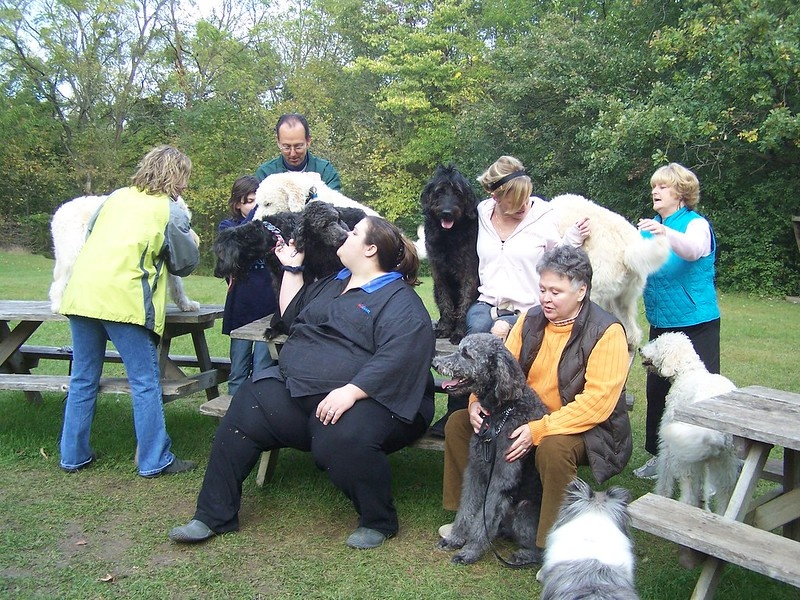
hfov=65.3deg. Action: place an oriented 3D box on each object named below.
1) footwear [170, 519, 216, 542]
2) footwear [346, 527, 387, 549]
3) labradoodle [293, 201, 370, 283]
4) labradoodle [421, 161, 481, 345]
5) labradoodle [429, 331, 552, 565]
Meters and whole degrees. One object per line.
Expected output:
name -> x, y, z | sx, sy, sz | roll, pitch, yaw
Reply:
footwear -> -1.512, 1.645, 4.494 | 0.153, 0.108, 0.251 | -7, -10, 41
footwear -> -0.248, 1.714, 4.529 | 0.215, 0.076, 0.138 | 10, -13, -20
labradoodle -> -0.542, -0.523, 5.235 | 0.510, 0.690, 0.490 | -11, 16, -42
labradoodle -> 0.445, -0.416, 5.543 | 0.486, 1.587, 0.542 | -1, 15, 1
labradoodle -> 0.642, 1.010, 4.783 | 0.956, 1.517, 0.977 | 6, 9, 35
